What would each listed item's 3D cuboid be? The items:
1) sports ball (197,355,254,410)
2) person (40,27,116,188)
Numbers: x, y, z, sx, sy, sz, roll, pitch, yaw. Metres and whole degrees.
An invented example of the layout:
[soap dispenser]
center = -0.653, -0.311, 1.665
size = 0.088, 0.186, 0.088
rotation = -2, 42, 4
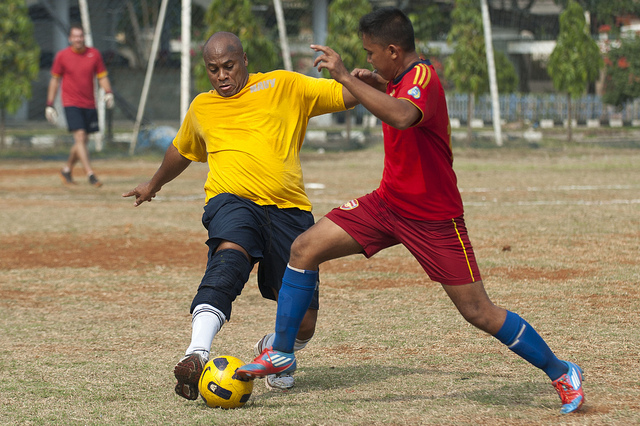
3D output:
[sports ball]
center = -0.763, 1.348, 9.456
size = 0.394, 0.311, 0.332
rotation = 4, 39, 48
[person]
center = -3.063, -1.327, 14.932
size = 0.425, 1.985, 0.950
rotation = 4, 8, 37
